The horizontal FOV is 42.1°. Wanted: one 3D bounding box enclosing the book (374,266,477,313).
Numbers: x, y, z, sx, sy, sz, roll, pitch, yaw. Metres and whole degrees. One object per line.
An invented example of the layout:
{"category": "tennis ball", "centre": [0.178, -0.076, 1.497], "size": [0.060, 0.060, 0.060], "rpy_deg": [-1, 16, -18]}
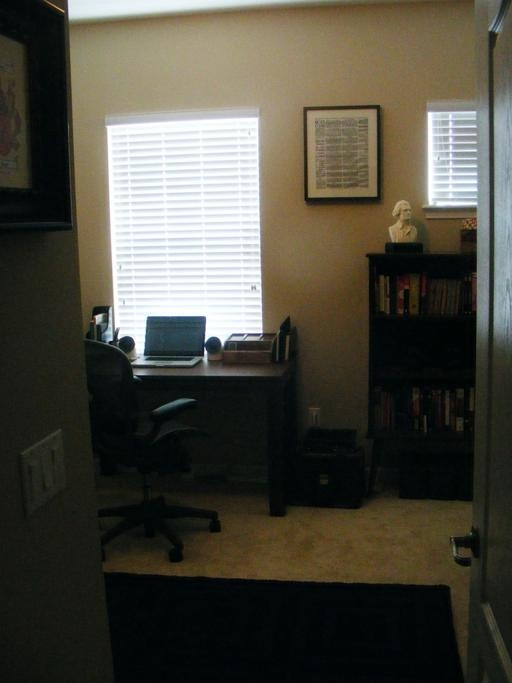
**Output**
{"category": "book", "centre": [0.870, -0.246, 3.426], "size": [0.494, 0.210, 0.122], "rpy_deg": [-1, 6, 3]}

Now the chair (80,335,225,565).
{"category": "chair", "centre": [-0.450, 0.431, 3.144], "size": [0.572, 1.262, 0.795], "rpy_deg": [0, 1, 7]}

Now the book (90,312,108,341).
{"category": "book", "centre": [-0.866, -0.077, 3.672], "size": [0.054, 0.138, 0.120], "rpy_deg": [2, 7, 8]}

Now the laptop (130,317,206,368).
{"category": "laptop", "centre": [-0.465, -0.019, 3.637], "size": [0.252, 0.245, 0.282], "rpy_deg": [1, 6, 9]}

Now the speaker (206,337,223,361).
{"category": "speaker", "centre": [-0.228, 0.042, 3.673], "size": [0.069, 0.123, 0.116], "rpy_deg": [0, 3, 0]}

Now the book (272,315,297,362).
{"category": "book", "centre": [0.161, -0.010, 3.580], "size": [0.078, 0.315, 0.198], "rpy_deg": [2, 4, 16]}

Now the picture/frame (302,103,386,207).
{"category": "picture/frame", "centre": [0.464, -1.006, 3.569], "size": [0.412, 0.658, 0.020], "rpy_deg": [0, -27, 7]}
